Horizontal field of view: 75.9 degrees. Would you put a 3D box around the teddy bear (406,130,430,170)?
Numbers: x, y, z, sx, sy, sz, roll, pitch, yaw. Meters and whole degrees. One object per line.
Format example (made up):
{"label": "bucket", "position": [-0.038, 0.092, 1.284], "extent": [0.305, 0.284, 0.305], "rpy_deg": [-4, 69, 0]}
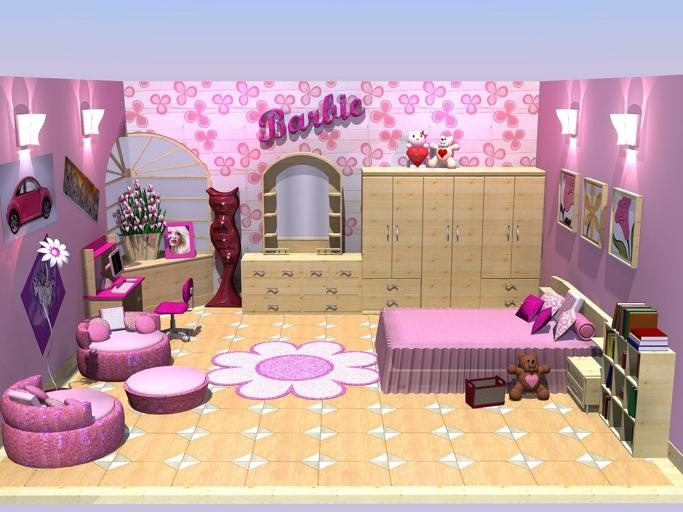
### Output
{"label": "teddy bear", "position": [1.426, -1.998, 8.058], "extent": [0.446, 0.669, 0.309], "rpy_deg": [-2, 12, -9]}

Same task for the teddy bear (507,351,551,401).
{"label": "teddy bear", "position": [2.289, 1.464, 5.368], "extent": [0.552, 0.626, 0.336], "rpy_deg": [0, 5, 0]}

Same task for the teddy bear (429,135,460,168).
{"label": "teddy bear", "position": [1.863, -1.903, 8.001], "extent": [0.534, 0.642, 0.381], "rpy_deg": [4, 9, 27]}

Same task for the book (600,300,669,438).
{"label": "book", "position": [2.934, 1.203, 4.448], "extent": [0.306, 1.409, 0.740], "rpy_deg": [1, 12, 6]}
